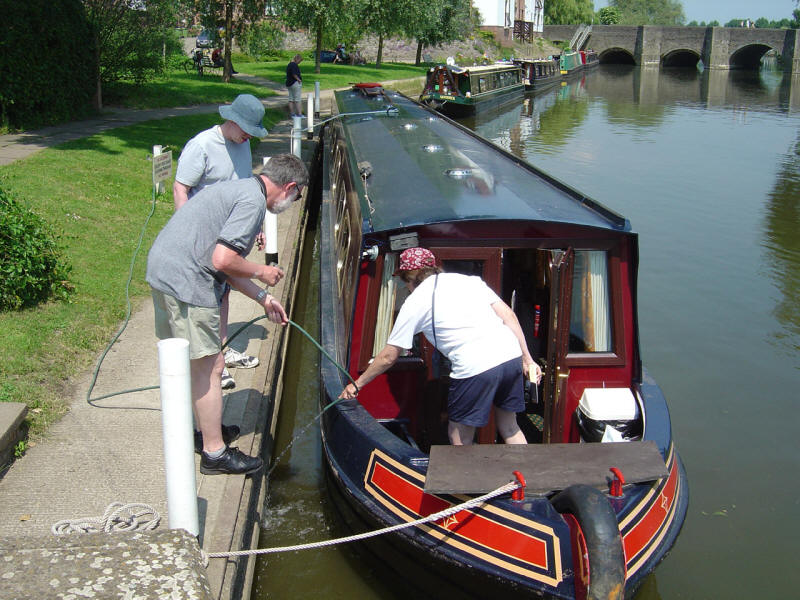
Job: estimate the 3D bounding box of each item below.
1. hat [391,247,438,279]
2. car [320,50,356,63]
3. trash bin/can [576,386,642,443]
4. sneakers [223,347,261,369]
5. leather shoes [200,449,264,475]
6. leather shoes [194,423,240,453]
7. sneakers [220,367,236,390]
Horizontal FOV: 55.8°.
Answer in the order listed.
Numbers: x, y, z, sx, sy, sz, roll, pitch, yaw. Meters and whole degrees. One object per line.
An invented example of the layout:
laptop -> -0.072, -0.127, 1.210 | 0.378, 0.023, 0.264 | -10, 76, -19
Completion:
hat -> 0.114, -0.289, 5.690 | 0.196, 0.152, 0.283 | -1, 12, -4
car -> -4.687, -17.987, 56.127 | 1.136, 0.995, 2.990 | 6, 21, 25
trash bin/can -> 1.737, 0.962, 6.349 | 0.515, 0.376, 0.437 | -1, 18, 7
sneakers -> -1.652, 0.614, 7.997 | 0.412, 0.174, 0.165 | 1, 14, -9
leather shoes -> -1.372, 1.339, 6.235 | 0.512, 0.227, 0.207 | -1, 16, -12
leather shoes -> -1.584, 1.183, 6.551 | 0.148, 0.201, 0.456 | -2, 3, 0
sneakers -> -1.686, 0.767, 7.434 | 0.174, 0.232, 0.491 | 0, -2, -12
